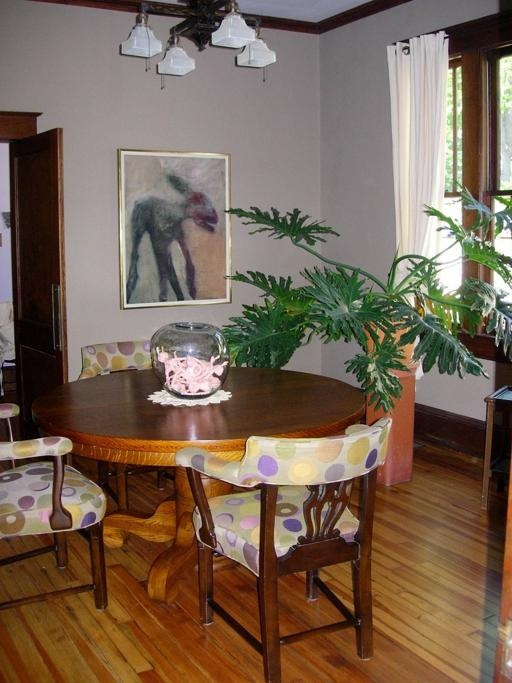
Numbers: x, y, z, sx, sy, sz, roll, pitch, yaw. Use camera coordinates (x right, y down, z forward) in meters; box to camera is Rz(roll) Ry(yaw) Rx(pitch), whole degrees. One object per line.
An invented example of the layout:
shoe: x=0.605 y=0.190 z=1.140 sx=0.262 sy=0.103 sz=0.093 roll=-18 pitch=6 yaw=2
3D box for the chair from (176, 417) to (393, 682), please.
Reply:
chair: x=0.065 y=0.649 z=1.680 sx=0.647 sy=0.766 sz=0.535 roll=-6 pitch=15 yaw=-26
